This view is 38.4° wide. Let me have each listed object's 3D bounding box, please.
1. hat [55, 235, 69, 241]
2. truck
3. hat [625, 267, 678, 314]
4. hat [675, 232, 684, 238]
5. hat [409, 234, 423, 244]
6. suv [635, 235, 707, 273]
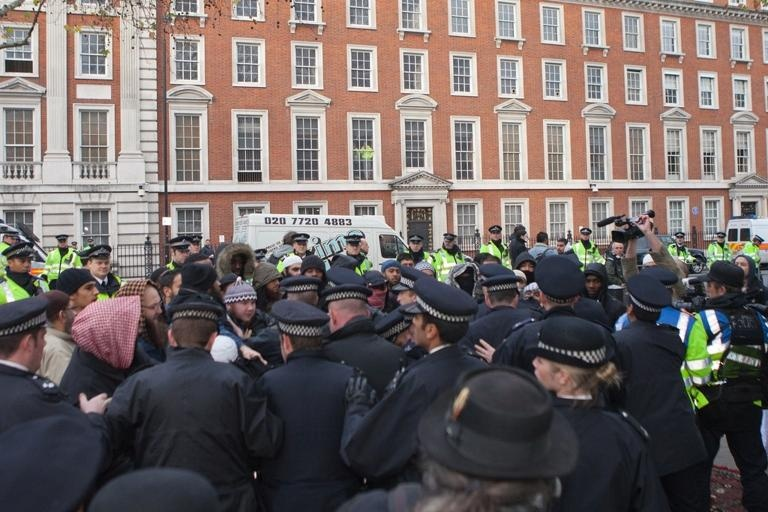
[{"bbox_3d":[-12.220,-0.720,41.900,0.464,0.182,0.485,-1,-3,-25],"label":"hat"},{"bbox_3d":[-2.158,-0.580,43.434,6.517,2.536,2.625,-1,1,-17],"label":"truck"},{"bbox_3d":[6.971,0.797,29.117,1.003,0.395,1.089,7,41,8],"label":"hat"},{"bbox_3d":[12.673,-0.921,47.290,0.459,0.224,0.457,6,-7,3],"label":"hat"},{"bbox_3d":[1.164,-0.627,39.723,0.608,0.242,0.656,3,-13,-2],"label":"hat"},{"bbox_3d":[10.547,-0.077,40.628,3.278,1.626,1.801,-2,4,2],"label":"suv"}]
